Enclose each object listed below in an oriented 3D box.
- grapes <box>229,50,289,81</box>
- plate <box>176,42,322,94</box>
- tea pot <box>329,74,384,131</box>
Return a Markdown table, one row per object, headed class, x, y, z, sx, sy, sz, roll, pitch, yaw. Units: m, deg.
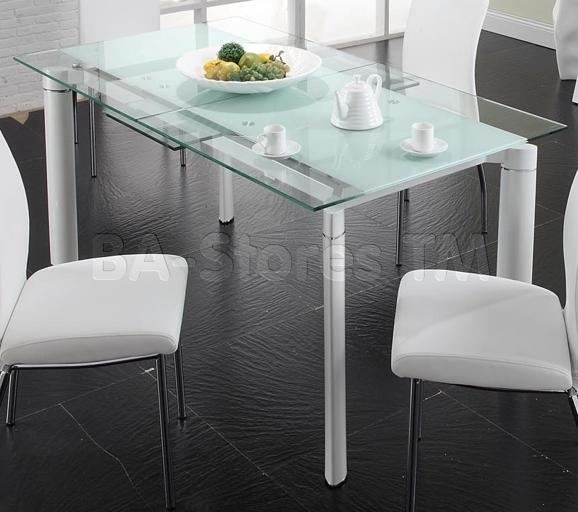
| class | x | y | z | sx | sy | sz | roll | pitch | yaw |
| --- | --- | --- | --- | --- | --- | --- | --- | --- | --- |
| grapes | -0.105 | -0.639 | 1.746 | 0.203 | 0.094 | 0.263 | -2 | 19 | -2 |
| plate | -0.143 | -0.656 | 1.820 | 0.395 | 0.162 | 0.348 | -19 | 36 | -29 |
| tea pot | 0.193 | -0.437 | 1.449 | 0.204 | 0.132 | 0.147 | -28 | 41 | -35 |
